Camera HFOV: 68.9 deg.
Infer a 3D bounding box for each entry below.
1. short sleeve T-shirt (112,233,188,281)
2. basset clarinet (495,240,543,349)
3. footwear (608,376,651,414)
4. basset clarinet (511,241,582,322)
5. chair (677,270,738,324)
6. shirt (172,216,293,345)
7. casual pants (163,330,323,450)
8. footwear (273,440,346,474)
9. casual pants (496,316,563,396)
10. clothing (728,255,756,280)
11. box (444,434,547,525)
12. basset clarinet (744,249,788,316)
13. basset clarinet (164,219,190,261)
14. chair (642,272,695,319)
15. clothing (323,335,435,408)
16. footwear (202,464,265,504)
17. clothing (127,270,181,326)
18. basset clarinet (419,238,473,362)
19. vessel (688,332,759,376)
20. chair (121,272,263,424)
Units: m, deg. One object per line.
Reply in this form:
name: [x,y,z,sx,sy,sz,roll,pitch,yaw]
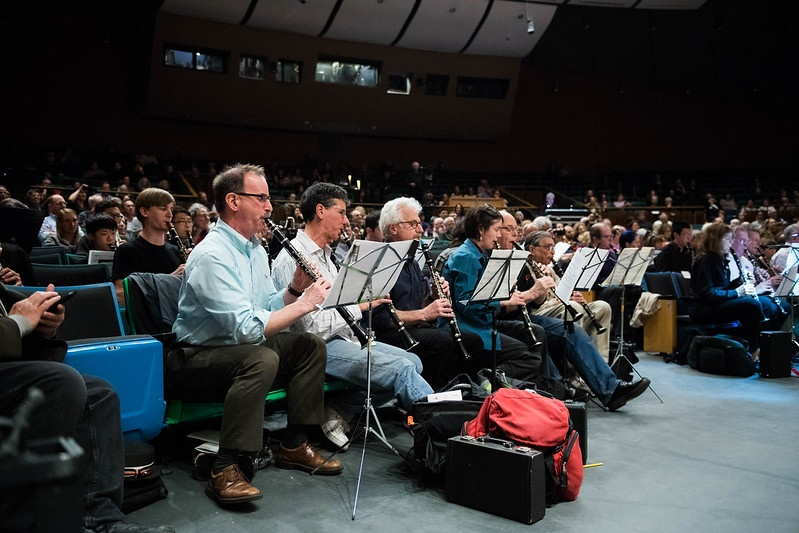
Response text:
short sleeve T-shirt: [-2.417,-0.075,5.542,0.749,0.543,0.406,0,-6,-35]
basset clarinet: [1.120,0.145,5.548,0.248,1.285,0.269,-23,-28,25]
footwear: [2.296,1.253,5.628,0.370,0.169,0.125,-38,7,15]
basset clarinet: [1.507,0.178,5.772,0.185,1.075,0.164,-40,-9,-45]
chair: [4.279,0.388,8.227,0.618,0.683,0.527,1,-6,-9]
shirt: [-1.212,0.132,4.232,0.878,0.883,1.100,3,9,-2]
casual pants: [-1.145,0.898,4.273,1.185,0.724,1.128,0,-6,-4]
footwear: [-0.667,1.377,4.218,0.534,0.220,0.197,3,-9,4]
casual pants: [1.248,0.813,5.450,0.445,0.705,0.370,-6,-11,-30]
clothing: [4.795,0.010,7.890,0.296,0.393,0.215,-2,-9,-2]
box: [0.676,1.383,3.744,0.513,0.376,0.185,-3,-6,34]
basset clarinet: [5.096,0.244,7.836,0.309,0.386,1.038,12,37,-7]
basset clarinet: [-2.317,-0.273,5.942,0.129,0.544,0.100,-34,-21,30]
chair: [4.005,0.398,8.410,0.572,0.754,0.676,3,-10,-15]
clothing: [-0.353,0.798,5.029,0.956,0.392,1.489,12,-6,-25]
footwear: [-1.091,1.391,3.760,0.386,0.183,0.191,-5,-8,36]
clothing: [-1.852,0.224,4.434,0.422,0.415,0.164,0,1,-38]
basset clarinet: [0.335,0.126,5.073,0.247,1.499,0.265,-6,-42,-12]
vessel: [4.163,1.105,7.285,0.458,0.437,0.855,-4,0,-24]
chair: [-1.825,0.614,4.520,0.829,1.033,0.818,24,0,10]
